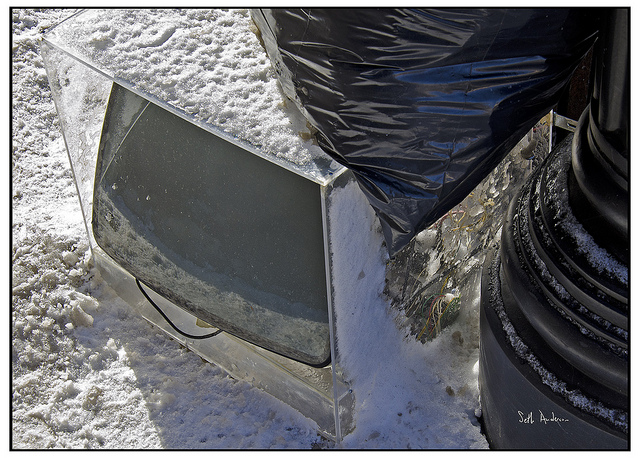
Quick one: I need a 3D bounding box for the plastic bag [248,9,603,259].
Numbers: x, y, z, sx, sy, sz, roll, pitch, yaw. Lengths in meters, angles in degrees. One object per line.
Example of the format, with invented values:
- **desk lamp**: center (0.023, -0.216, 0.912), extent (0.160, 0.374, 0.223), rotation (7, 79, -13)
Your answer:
- **plastic bag**: center (0.307, -0.323, 1.789), extent (0.942, 0.701, 0.437), rotation (-3, 46, -7)
